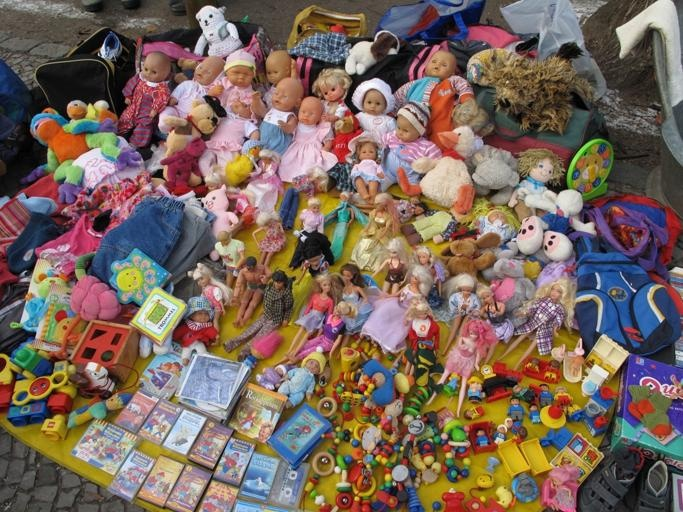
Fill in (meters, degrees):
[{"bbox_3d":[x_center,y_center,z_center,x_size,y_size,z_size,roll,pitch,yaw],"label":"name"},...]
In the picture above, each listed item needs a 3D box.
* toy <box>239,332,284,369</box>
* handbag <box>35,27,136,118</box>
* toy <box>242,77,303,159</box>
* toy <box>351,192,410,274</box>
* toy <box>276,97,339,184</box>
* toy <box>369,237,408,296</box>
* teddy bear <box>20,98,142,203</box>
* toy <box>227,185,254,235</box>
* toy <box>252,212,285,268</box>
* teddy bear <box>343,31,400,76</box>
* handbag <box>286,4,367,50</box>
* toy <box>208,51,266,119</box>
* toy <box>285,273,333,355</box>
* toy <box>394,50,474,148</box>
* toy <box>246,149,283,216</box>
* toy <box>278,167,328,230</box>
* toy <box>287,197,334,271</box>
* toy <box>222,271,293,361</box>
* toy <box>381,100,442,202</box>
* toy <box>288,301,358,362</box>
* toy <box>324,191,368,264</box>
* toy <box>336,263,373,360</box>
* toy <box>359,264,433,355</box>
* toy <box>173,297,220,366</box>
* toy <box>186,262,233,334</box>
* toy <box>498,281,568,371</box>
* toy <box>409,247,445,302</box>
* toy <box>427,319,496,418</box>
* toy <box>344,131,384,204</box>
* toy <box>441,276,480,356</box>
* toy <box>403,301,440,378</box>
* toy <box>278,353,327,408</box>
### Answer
[{"bbox_3d":[-0.876,1.003,6.332,0.281,0.151,0.427,42,71,13],"label":"toy"},{"bbox_3d":[-3.713,-2.704,8.577,0.893,1.226,1.275,3,42,-1],"label":"handbag"},{"bbox_3d":[-0.881,-1.798,7.719,0.623,0.408,1.237,16,79,23],"label":"toy"},{"bbox_3d":[0.454,-0.238,7.108,0.536,0.336,0.931,10,67,13],"label":"toy"},{"bbox_3d":[-0.452,-1.447,7.691,0.975,0.392,1.062,6,67,12],"label":"toy"},{"bbox_3d":[0.520,0.130,6.546,0.371,0.615,0.546,10,28,34],"label":"toy"},{"bbox_3d":[-3.540,-1.360,7.741,1.371,0.583,1.409,-35,79,-7],"label":"teddy bear"},{"bbox_3d":[-1.297,-0.598,7.316,0.210,0.359,0.548,-37,42,13],"label":"toy"},{"bbox_3d":[-0.950,-0.238,6.928,0.331,0.383,0.691,2,68,18],"label":"toy"},{"bbox_3d":[0.368,-2.765,7.919,0.764,0.308,0.497,-29,60,10],"label":"teddy bear"},{"bbox_3d":[-0.229,-3.451,8.710,0.949,0.409,0.711,19,61,12],"label":"handbag"},{"bbox_3d":[-1.413,-2.280,7.687,0.730,0.424,0.985,14,95,5],"label":"toy"},{"bbox_3d":[-0.314,0.648,6.469,0.367,0.319,1.005,31,77,-4],"label":"toy"},{"bbox_3d":[1.264,-2.129,7.520,0.956,0.336,1.272,5,70,25],"label":"toy"},{"bbox_3d":[-1.006,-0.882,7.550,0.522,0.431,0.808,-10,83,11],"label":"toy"},{"bbox_3d":[-0.495,-0.794,7.319,0.427,0.366,0.942,23,61,14],"label":"toy"},{"bbox_3d":[-0.356,-0.215,6.866,0.567,0.277,0.834,3,72,1],"label":"toy"},{"bbox_3d":[-0.890,0.637,6.364,0.451,0.561,1.014,17,37,23],"label":"toy"},{"bbox_3d":[0.749,-1.350,7.392,0.911,1.002,0.863,-22,44,-21],"label":"toy"},{"bbox_3d":[-0.166,0.847,6.383,0.849,0.374,0.467,-42,75,-8],"label":"toy"},{"bbox_3d":[0.023,-0.339,7.069,0.604,0.229,0.680,2,64,9],"label":"toy"},{"bbox_3d":[0.076,0.528,6.329,0.372,0.744,0.666,-2,25,21],"label":"toy"},{"bbox_3d":[0.661,0.558,6.361,0.693,0.316,0.943,37,81,33],"label":"toy"},{"bbox_3d":[-1.620,0.782,6.471,0.534,0.425,0.865,3,26,-12],"label":"toy"},{"bbox_3d":[-1.507,0.517,6.603,0.395,0.413,0.716,-23,72,-24],"label":"toy"},{"bbox_3d":[2.201,0.741,6.428,0.528,0.302,1.096,37,96,19],"label":"toy"},{"bbox_3d":[1.002,0.239,6.604,0.429,0.388,0.713,-11,98,13],"label":"toy"},{"bbox_3d":[1.360,1.119,6.273,0.521,0.382,1.168,27,89,23],"label":"toy"},{"bbox_3d":[0.345,-1.044,7.353,0.566,0.408,1.233,-6,44,10],"label":"toy"},{"bbox_3d":[1.273,0.614,6.348,0.367,0.369,0.876,17,74,22],"label":"toy"},{"bbox_3d":[0.869,0.969,6.253,0.427,0.270,0.969,-3,99,11],"label":"toy"},{"bbox_3d":[-0.390,1.304,6.214,0.371,0.203,0.614,36,69,15],"label":"toy"}]
